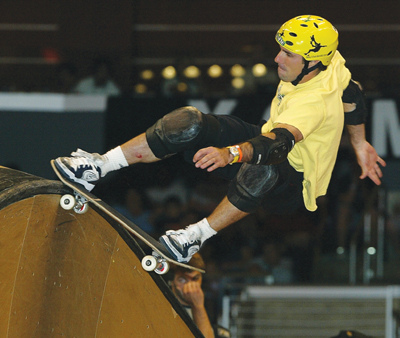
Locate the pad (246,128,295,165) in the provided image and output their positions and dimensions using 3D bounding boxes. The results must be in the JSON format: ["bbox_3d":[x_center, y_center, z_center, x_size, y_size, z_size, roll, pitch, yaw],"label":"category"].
[{"bbox_3d":[0.581,-0.208,6.931,0.313,0.278,0.450,3,14,20],"label":"pad"}]

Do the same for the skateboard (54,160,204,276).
[{"bbox_3d":[-0.629,0.406,7.462,1.353,0.348,0.226,41,95,-6],"label":"skateboard"}]

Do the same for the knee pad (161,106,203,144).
[{"bbox_3d":[-0.144,-0.368,7.152,0.356,0.139,0.285,-9,55,-8],"label":"knee pad"}]

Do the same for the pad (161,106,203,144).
[{"bbox_3d":[-0.140,-0.369,7.111,0.339,0.098,0.237,-20,86,-29],"label":"pad"}]

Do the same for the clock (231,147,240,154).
[{"bbox_3d":[0.275,-0.150,6.772,0.069,0.022,0.070,0,54,-1],"label":"clock"}]
